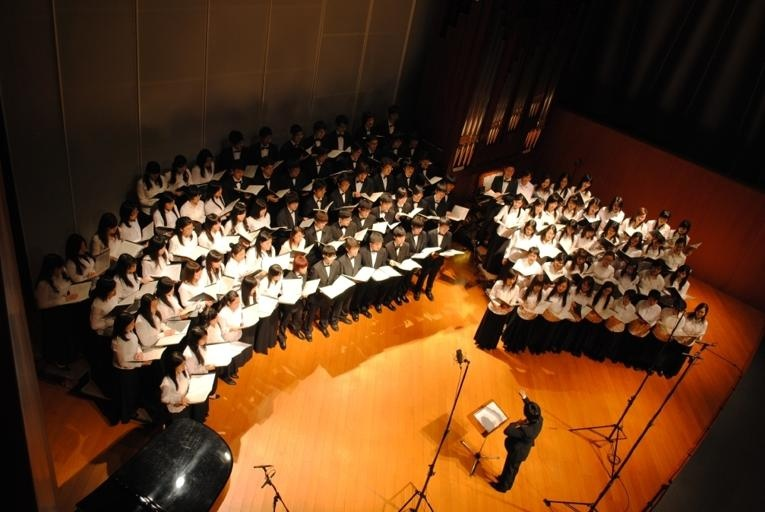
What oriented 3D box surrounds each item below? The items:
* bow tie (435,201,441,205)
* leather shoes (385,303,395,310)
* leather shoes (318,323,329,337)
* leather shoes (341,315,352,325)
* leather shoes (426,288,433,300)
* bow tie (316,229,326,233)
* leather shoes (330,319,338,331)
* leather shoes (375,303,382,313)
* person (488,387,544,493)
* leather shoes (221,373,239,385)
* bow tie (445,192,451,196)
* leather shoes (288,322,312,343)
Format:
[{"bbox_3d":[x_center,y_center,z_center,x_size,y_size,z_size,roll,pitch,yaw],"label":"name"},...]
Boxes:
[{"bbox_3d":[1.033,-0.986,9.986,0.076,0.080,0.020,2,24,-9],"label":"bow tie"},{"bbox_3d":[0.129,0.893,9.486,0.200,0.149,0.085,2,65,-6],"label":"leather shoes"},{"bbox_3d":[-0.940,1.197,8.783,0.087,0.107,0.273,-30,77,-13],"label":"leather shoes"},{"bbox_3d":[-0.600,1.052,9.052,0.197,0.160,0.100,-4,36,-16],"label":"leather shoes"},{"bbox_3d":[0.847,0.694,9.755,0.094,0.190,0.204,-5,57,-4],"label":"leather shoes"},{"bbox_3d":[-0.985,-0.406,8.660,0.098,0.055,0.013,-4,27,-22],"label":"bow tie"},{"bbox_3d":[-0.792,1.126,8.884,0.076,0.097,0.243,-10,59,-35],"label":"leather shoes"},{"bbox_3d":[-0.073,0.895,9.337,0.066,0.167,0.063,2,-5,3],"label":"leather shoes"},{"bbox_3d":[1.829,2.500,7.273,0.430,1.379,0.601,16,27,21],"label":"person"},{"bbox_3d":[-2.234,1.793,7.880,0.213,0.100,0.140,20,69,-10],"label":"leather shoes"},{"bbox_3d":[1.233,-1.170,10.140,0.089,0.061,0.095,6,11,6],"label":"bow tie"},{"bbox_3d":[-1.298,1.232,8.667,0.500,0.214,0.177,35,78,4],"label":"leather shoes"}]
